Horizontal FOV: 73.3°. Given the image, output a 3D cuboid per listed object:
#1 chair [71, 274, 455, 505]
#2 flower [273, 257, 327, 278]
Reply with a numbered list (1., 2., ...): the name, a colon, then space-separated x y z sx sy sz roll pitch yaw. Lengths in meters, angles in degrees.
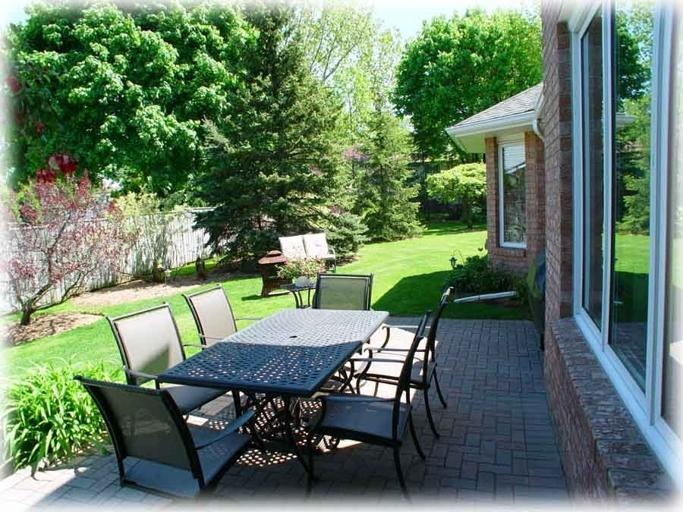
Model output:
1. chair: -0.669 1.367 4.262 2.859 1.379 2.349 -10 11 -38
2. flower: -0.900 0.243 9.673 0.767 0.361 0.771 0 7 32
